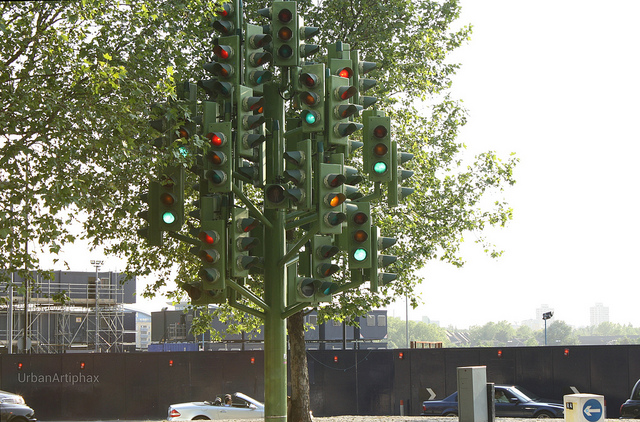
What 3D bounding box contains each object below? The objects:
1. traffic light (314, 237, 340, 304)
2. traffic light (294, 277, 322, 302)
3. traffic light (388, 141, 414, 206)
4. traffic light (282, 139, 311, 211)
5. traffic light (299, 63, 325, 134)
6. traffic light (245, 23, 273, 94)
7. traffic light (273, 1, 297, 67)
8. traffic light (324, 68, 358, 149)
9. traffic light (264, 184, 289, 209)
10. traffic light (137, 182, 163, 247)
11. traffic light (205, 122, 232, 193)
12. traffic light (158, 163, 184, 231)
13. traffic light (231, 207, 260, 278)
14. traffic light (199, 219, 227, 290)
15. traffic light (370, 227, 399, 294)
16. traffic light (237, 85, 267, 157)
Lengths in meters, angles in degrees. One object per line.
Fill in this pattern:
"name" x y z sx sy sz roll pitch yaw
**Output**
"traffic light" 0.175 2.087 49.246 0.838 2.295 0.820 0 -11 -1
"traffic light" -0.476 2.803 49.357 0.870 0.857 0.718 6 -9 -25
"traffic light" 2.776 -1.294 50.701 1.138 2.251 0.853 10 -15 -41
"traffic light" -0.774 -1.235 49.016 0.782 2.369 0.462 -1 -11 3
"traffic light" -0.321 -4.061 49.609 0.872 2.486 0.531 -1 -11 2
"traffic light" -2.267 -5.557 49.704 0.923 2.266 0.632 0 -11 -3
"traffic light" -1.291 -6.334 49.541 0.848 2.237 0.676 0 -11 -1
"traffic light" 0.691 -3.775 49.686 1.169 2.945 0.945 0 -11 0
"traffic light" -1.597 -0.460 49.027 0.843 0.957 0.484 1 -4 1
"traffic light" -6.074 0.139 49.561 0.799 2.188 0.656 -2 -11 7
"traffic light" -3.682 -1.858 49.050 0.857 2.488 0.778 1 9 10
"traffic light" -5.340 -0.472 49.489 0.922 2.406 0.592 1 -11 -4
"traffic light" -2.719 1.137 49.125 0.904 2.444 0.502 0 -11 -2
"traffic light" -3.818 1.559 48.941 0.950 2.461 0.545 1 -11 -6
"traffic light" 2.214 1.982 50.271 1.210 2.396 0.783 4 -10 -18
"traffic light" -2.516 -3.233 49.325 0.907 2.517 0.634 0 -11 0
